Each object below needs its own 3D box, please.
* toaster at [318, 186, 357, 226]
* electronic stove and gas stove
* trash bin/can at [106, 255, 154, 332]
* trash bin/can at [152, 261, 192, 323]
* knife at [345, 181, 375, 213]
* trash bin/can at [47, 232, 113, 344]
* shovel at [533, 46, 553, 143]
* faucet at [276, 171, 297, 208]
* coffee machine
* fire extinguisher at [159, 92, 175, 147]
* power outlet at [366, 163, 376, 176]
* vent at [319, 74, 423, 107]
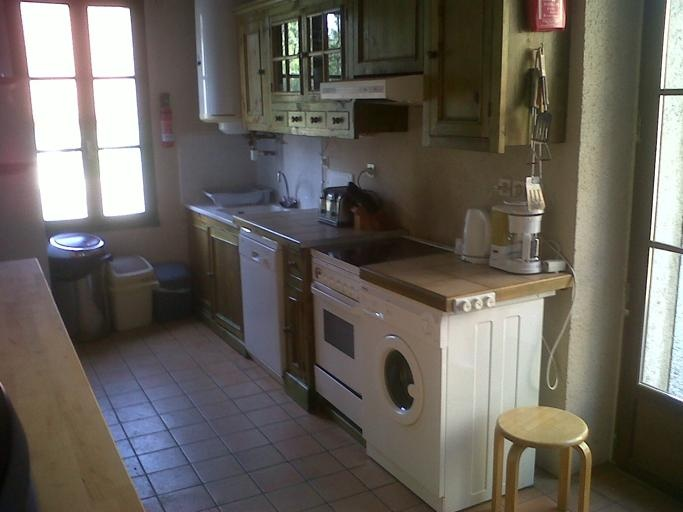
[{"bbox_3d":[-0.035,-0.337,4.023,0.163,0.263,0.273,-1,9,-30],"label":"toaster"},{"bbox_3d":[0.216,-0.109,3.444,0.720,0.164,0.724,-7,12,-31],"label":"electronic stove and gas stove"},{"bbox_3d":[-1.818,0.281,5.097,0.563,0.753,0.526,-4,10,-28],"label":"trash bin/can"},{"bbox_3d":[-1.550,0.320,5.255,0.310,0.507,0.326,-1,17,-28],"label":"trash bin/can"},{"bbox_3d":[0.121,-0.386,3.886,0.148,0.180,0.227,-13,19,-31],"label":"knife"},{"bbox_3d":[-1.976,0.247,4.369,0.582,0.742,0.498,19,28,38],"label":"trash bin/can"},{"bbox_3d":[0.918,-0.732,2.652,0.084,0.431,0.131,3,17,19],"label":"shovel"},{"bbox_3d":[-0.488,-0.579,5.033,0.130,0.279,0.467,-7,16,-13],"label":"faucet"},{"bbox_3d":[0.852,-0.153,2.819,0.152,0.466,0.243,-12,18,-30],"label":"coffee machine"},{"bbox_3d":[-1.583,-1.228,5.240,0.144,0.477,0.109,-10,17,-24],"label":"fire extinguisher"},{"bbox_3d":[0.201,-0.595,4.012,0.043,0.077,0.079,-6,13,-24],"label":"power outlet"},{"bbox_3d":[0.156,-0.913,3.198,0.170,0.126,0.753,-14,19,-34],"label":"vent"}]
